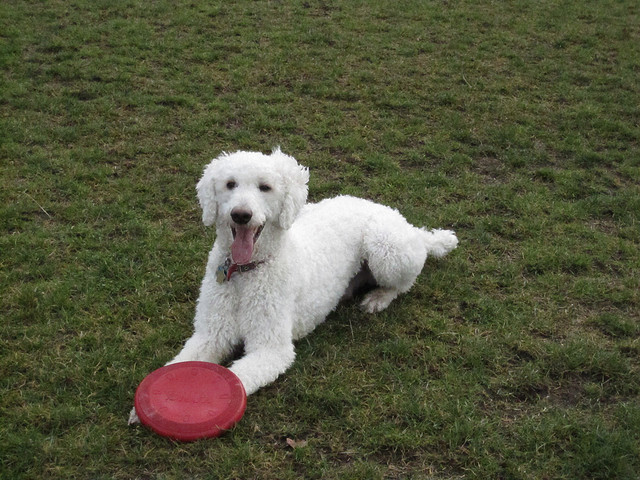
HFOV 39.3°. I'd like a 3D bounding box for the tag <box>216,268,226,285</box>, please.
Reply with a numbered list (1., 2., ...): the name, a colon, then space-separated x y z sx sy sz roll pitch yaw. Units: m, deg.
1. tag: -1.226 0.446 10.983 0.118 0.134 0.032 19 2 13
